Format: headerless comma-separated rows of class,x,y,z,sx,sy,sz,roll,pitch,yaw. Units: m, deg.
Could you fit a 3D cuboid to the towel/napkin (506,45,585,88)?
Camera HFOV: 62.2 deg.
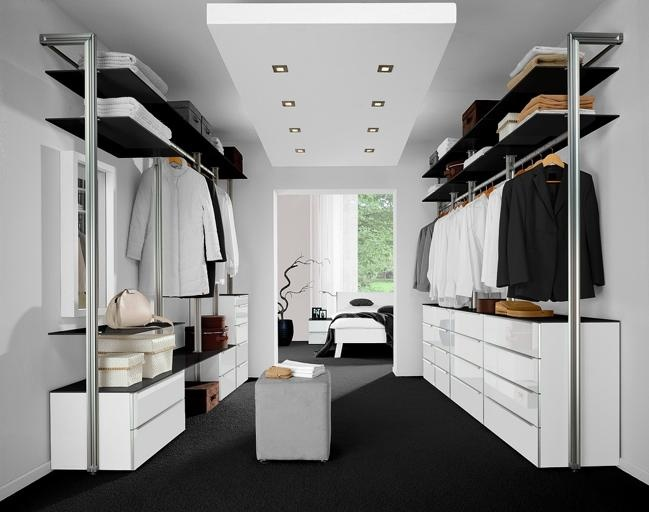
towel/napkin,1.423,-1.269,3.631,0.334,0.109,0.355,-1,1,-6

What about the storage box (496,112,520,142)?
storage box,1.383,-0.992,4.090,0.152,0.177,0.246,-1,1,-5

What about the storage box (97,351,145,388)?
storage box,-1.434,0.789,3.720,0.356,0.190,0.362,0,-3,-19

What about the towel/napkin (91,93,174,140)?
towel/napkin,-1.267,-0.927,3.686,0.207,0.228,0.577,1,4,24

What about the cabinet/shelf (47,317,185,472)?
cabinet/shelf,-1.448,1.023,4.050,0.583,0.910,1.204,-2,-1,4

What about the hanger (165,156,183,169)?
hanger,-1.339,-0.841,4.816,0.133,0.085,0.222,0,-1,-20

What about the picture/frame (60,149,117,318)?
picture/frame,-1.691,-0.131,3.887,0.208,1.176,0.635,0,3,-5

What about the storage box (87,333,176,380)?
storage box,-1.355,0.702,3.914,0.359,0.240,0.381,-1,-4,2

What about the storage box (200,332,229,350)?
storage box,-1.040,0.819,5.103,0.168,0.111,0.173,1,-7,-20

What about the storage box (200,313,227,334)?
storage box,-1.054,0.658,5.153,0.240,0.156,0.123,-1,3,-17

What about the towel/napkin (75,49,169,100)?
towel/napkin,-1.300,-1.270,3.703,0.300,0.113,0.413,0,-1,7

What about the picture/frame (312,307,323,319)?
picture/frame,-0.108,0.955,8.723,0.243,0.246,0.130,0,-17,-2

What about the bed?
bed,0.563,0.930,9.309,0.962,0.968,1.493,0,6,-3

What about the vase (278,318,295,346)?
vase,-0.613,1.224,8.478,0.226,0.422,0.441,0,3,-6

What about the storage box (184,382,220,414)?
storage box,-1.076,1.279,4.821,0.183,0.227,0.348,-4,-2,7

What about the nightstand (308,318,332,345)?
nightstand,-0.055,1.188,8.647,0.465,0.487,0.338,0,-7,1

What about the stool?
stool,-0.217,1.133,3.848,0.489,0.561,0.523,-1,-5,3
